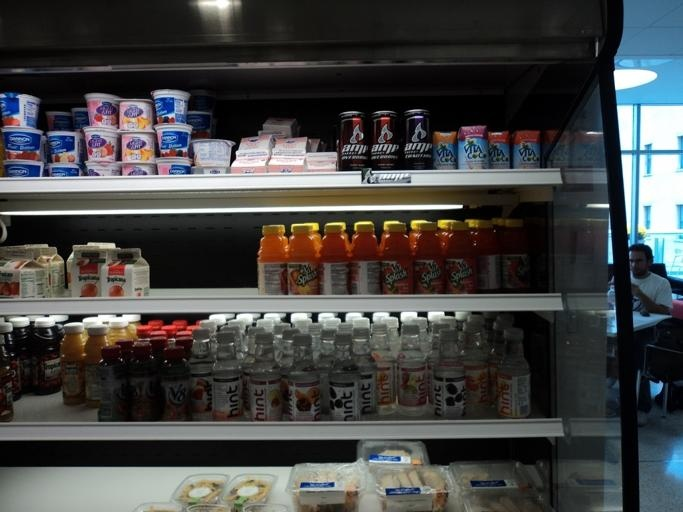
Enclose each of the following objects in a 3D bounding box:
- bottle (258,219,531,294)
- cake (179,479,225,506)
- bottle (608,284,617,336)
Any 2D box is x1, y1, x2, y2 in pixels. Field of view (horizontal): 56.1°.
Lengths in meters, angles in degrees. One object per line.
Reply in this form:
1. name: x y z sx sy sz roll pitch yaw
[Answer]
1. bottle: 0.232 0.009 2.653 1.141 0.262 0.247 -2 1 -4
2. cake: -0.601 1.026 2.776 0.184 0.041 0.174 -3 2 -11
3. bottle: 0.986 0.194 2.341 0.009 0.144 0.051 -3 1 -7
